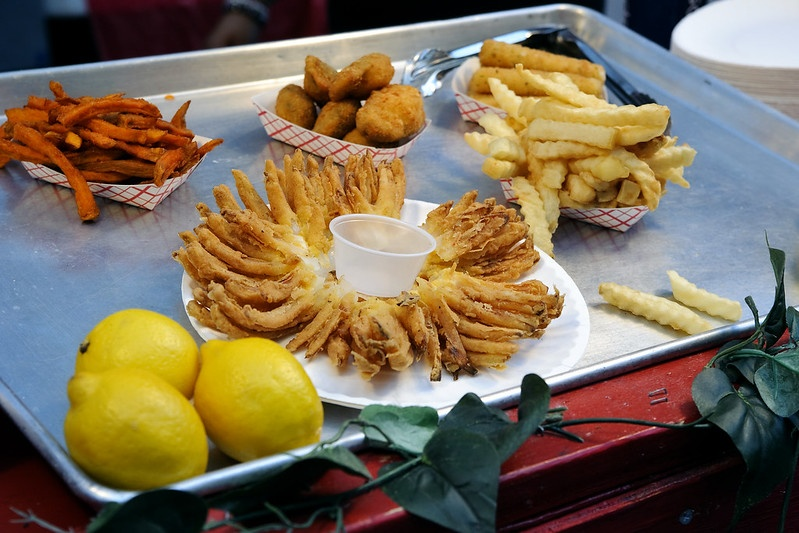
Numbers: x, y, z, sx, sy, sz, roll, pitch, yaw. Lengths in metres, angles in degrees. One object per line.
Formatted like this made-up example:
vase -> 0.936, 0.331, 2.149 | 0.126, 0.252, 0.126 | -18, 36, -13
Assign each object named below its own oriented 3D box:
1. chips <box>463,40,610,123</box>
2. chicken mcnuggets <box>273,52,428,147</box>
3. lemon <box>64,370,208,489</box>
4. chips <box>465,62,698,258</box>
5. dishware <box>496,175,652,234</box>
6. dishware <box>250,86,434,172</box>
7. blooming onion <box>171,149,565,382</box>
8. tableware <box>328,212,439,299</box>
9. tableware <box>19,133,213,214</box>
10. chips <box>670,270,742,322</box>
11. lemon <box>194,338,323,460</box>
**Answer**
chips -> 0.254, -0.391, 1.199 | 0.227, 0.059, 0.213 | 23, 63, 11
chicken mcnuggets -> -0.087, -0.280, 1.081 | 0.211, 0.079, 0.199 | -8, 38, -28
lemon -> -0.252, 0.160, 0.590 | 0.138, 0.096, 0.100 | 16, 72, -17
chips -> 0.247, -0.118, 0.913 | 0.340, 0.329, 0.140 | 5, -4, 27
dishware -> 0.323, -0.124, 1.137 | 0.269, 0.112, 0.380 | 2, 3, 3
dishware -> -0.149, -0.226, 1.087 | 0.285, 0.069, 0.178 | 23, 40, 19
blooming onion -> -0.129, -0.025, 0.887 | 0.321, 0.326, 0.088 | 9, 48, -46
tableware -> -0.024, -0.014, 0.785 | 0.123, 0.056, 0.119 | 21, 25, 9
tableware -> -0.460, -0.139, 0.985 | 0.168, 0.029, 0.119 | 17, 32, 16
chips -> 0.432, 0.047, 0.883 | 0.118, 0.038, 0.022 | 21, 8, -2
lemon -> -0.137, 0.129, 0.642 | 0.133, 0.099, 0.098 | 45, 65, 9
